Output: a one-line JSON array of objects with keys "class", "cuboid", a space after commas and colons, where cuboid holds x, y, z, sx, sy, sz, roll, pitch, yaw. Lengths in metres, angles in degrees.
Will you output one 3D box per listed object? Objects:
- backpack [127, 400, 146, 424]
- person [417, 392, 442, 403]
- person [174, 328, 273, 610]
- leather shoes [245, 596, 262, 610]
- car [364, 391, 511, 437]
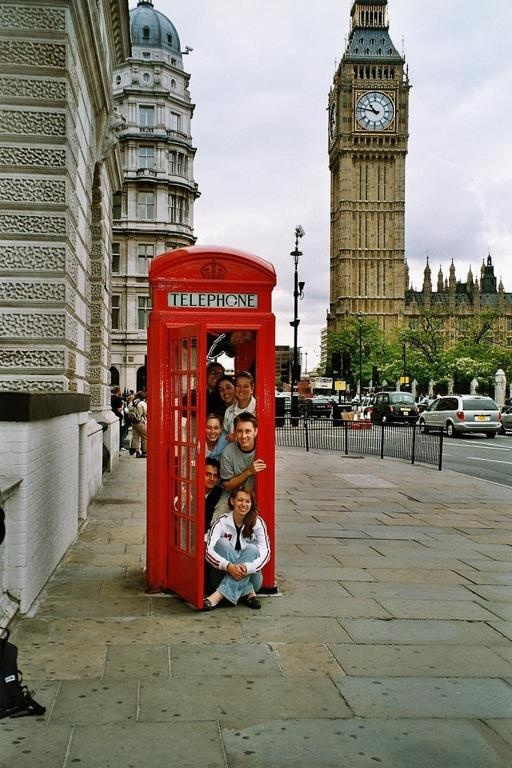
[{"class": "backpack", "cuboid": [-2.974, 0.680, 19.110, 0.296, 0.509, 0.556, -2, -41, -6]}, {"class": "person", "cuboid": [14.595, 1.039, 64.179, 1.658, 0.818, 1.042, -2, 3, -4]}, {"class": "person", "cuboid": [-0.155, 0.551, 5.861, 0.453, 1.940, 1.429, 1, 1, -4]}, {"class": "leather shoes", "cuboid": [-0.019, 1.506, 5.262, 0.100, 0.057, 0.196, 1, 1, -5]}, {"class": "car", "cuboid": [8.135, 1.331, 33.637, 2.876, 1.812, 4.773, 0, 2, -34]}]
